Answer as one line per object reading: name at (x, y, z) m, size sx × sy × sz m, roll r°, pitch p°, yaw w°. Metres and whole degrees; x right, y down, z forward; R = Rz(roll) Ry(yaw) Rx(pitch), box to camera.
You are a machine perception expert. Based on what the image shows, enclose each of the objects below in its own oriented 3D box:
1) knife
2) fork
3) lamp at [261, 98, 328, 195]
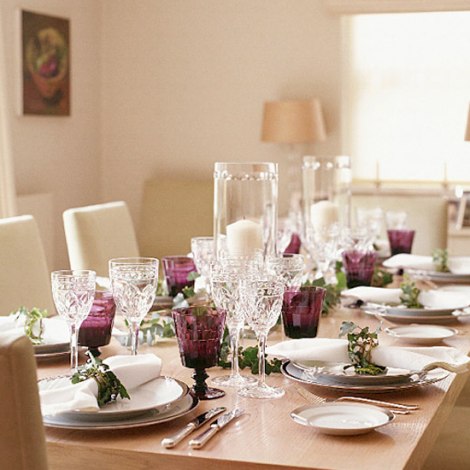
knife at (-0.037, 0.234, 0.591) m, size 0.030 × 0.005 × 0.107 m, roll 4°, pitch 4°, yaw 24°
fork at (0.181, 0.239, 0.694) m, size 0.139 × 0.014 × 0.020 m, roll 3°, pitch -16°, yaw 21°
lamp at (0.471, -0.822, 4.101) m, size 0.650 × 0.886 × 0.615 m, roll 0°, pitch 4°, yaw 5°
